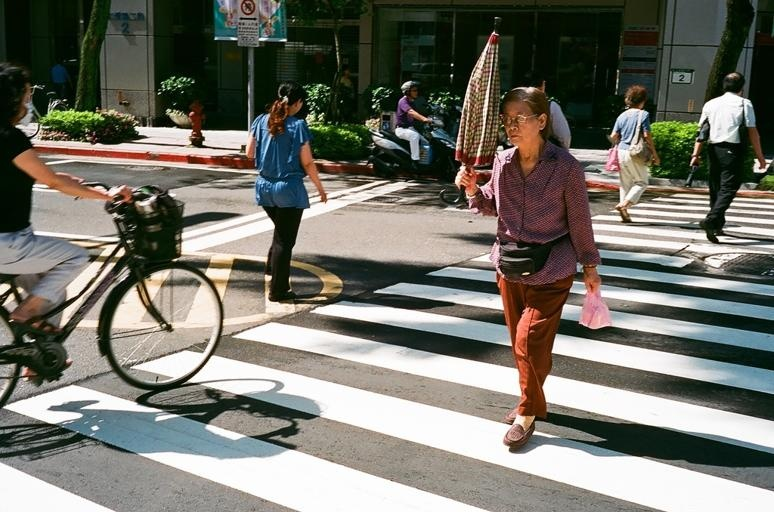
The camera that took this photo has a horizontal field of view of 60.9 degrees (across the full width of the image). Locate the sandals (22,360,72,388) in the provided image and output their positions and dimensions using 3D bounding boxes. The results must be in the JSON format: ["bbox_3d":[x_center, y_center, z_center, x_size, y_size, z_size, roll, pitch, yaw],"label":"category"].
[{"bbox_3d":[-2.570,0.887,4.932,0.373,0.138,0.196,-28,-15,1],"label":"sandals"}]

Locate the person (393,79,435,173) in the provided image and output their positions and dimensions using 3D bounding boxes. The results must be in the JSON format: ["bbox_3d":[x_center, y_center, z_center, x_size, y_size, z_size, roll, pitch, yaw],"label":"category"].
[{"bbox_3d":[0.574,-2.879,14.429,0.694,1.806,0.914,2,17,-3],"label":"person"}]

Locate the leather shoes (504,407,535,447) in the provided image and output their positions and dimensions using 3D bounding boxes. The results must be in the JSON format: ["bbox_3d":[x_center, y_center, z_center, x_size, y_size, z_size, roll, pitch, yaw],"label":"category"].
[{"bbox_3d":[0.948,1.234,4.720,0.145,0.108,0.351,12,26,31],"label":"leather shoes"}]

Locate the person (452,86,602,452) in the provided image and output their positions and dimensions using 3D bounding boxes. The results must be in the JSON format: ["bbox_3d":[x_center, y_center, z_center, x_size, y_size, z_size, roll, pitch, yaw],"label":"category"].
[{"bbox_3d":[0.980,0.094,4.610,0.618,2.465,0.725,-11,23,-38],"label":"person"}]

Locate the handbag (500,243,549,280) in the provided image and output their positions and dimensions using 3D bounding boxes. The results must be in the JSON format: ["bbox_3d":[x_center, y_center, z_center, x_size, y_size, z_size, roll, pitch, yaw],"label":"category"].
[{"bbox_3d":[0.928,0.039,4.538,0.337,0.141,0.259,-9,9,-40],"label":"handbag"}]

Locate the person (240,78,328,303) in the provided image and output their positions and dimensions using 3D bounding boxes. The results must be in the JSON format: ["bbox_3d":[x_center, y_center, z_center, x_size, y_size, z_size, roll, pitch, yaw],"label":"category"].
[{"bbox_3d":[-1.137,-0.696,7.264,0.774,2.375,0.735,0,18,-11],"label":"person"}]

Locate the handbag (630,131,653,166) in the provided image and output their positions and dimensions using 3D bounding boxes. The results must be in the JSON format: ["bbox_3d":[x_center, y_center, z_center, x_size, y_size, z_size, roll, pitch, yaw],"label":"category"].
[{"bbox_3d":[4.208,-1.765,10.856,0.335,0.518,0.194,-5,20,-24],"label":"handbag"}]

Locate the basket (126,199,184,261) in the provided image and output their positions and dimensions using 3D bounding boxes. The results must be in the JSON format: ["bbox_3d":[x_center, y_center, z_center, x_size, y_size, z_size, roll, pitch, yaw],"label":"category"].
[{"bbox_3d":[-1.723,-0.199,4.948,0.571,0.493,0.482,0,13,-5],"label":"basket"}]

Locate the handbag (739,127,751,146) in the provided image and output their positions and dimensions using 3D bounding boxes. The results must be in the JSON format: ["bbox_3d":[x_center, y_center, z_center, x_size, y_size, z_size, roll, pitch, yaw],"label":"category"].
[{"bbox_3d":[5.348,-1.767,9.757,0.225,0.289,0.106,-10,22,-38],"label":"handbag"}]

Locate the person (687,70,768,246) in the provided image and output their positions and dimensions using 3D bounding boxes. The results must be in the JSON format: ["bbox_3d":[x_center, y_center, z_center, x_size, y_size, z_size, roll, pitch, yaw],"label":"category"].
[{"bbox_3d":[5.150,-1.444,9.879,0.750,2.489,0.717,2,18,-4],"label":"person"}]
